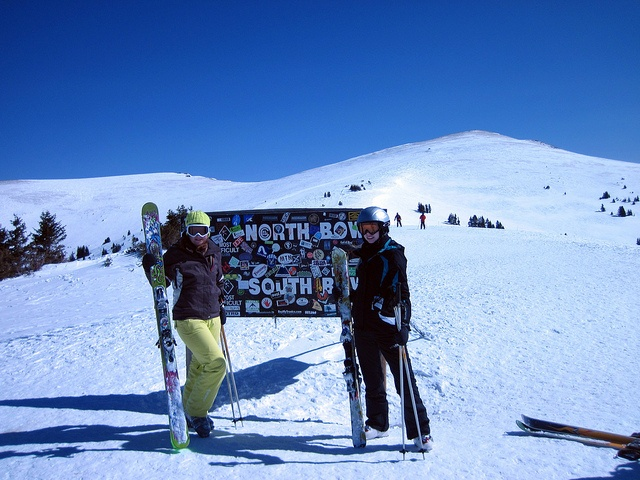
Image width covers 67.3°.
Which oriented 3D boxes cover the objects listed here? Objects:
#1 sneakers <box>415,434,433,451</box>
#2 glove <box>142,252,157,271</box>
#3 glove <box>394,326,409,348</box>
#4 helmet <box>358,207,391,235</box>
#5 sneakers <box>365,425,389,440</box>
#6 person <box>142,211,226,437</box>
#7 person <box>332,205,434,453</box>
[{"bbox_3d":[1.569,3.054,7.244,0.134,0.167,0.352,0,-20,-13],"label":"sneakers"},{"bbox_3d":[-2.747,0.344,7.762,0.179,0.276,0.077,4,2,4],"label":"glove"},{"bbox_3d":[1.236,1.447,7.216,0.186,0.280,0.158,1,13,10],"label":"glove"},{"bbox_3d":[0.861,-0.337,7.658,0.353,0.427,0.476,4,16,31],"label":"helmet"},{"bbox_3d":[0.933,3.060,7.638,0.443,0.207,0.157,15,-19,-29],"label":"sneakers"},{"bbox_3d":[-1.955,1.343,7.761,0.830,3.518,1.038,-5,13,-13],"label":"person"},{"bbox_3d":[1.003,1.431,7.454,0.812,3.767,1.420,-10,15,-32],"label":"person"}]
